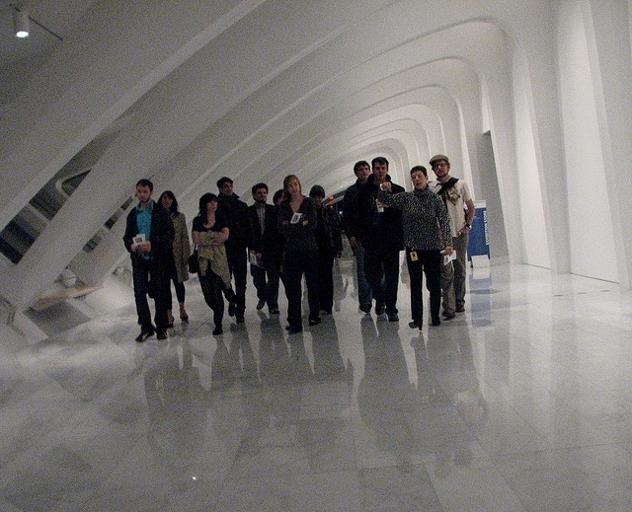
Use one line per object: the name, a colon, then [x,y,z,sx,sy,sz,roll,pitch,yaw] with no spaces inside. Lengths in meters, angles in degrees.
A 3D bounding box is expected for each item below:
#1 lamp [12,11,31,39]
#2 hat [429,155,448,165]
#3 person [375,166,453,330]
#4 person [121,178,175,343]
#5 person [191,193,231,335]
lamp: [-3.117,-2.586,4.619,0.128,0.266,0.191,-2,-1,-39]
hat: [1.649,-1.398,5.922,0.231,0.158,0.305,-3,0,15]
person: [1.209,-0.155,5.252,0.793,1.884,0.334,-3,-1,12]
person: [-2.265,0.032,5.930,0.591,2.252,0.490,-2,-1,-30]
person: [-1.499,0.056,6.217,0.501,1.409,0.603,-3,-1,-12]
